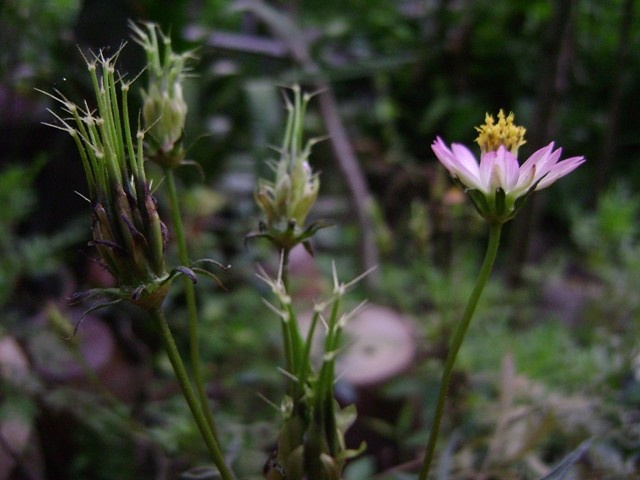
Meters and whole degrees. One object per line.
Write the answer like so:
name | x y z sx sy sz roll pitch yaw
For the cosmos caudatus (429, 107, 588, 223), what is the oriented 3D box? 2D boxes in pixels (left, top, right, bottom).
cosmos caudatus | 0.230 -0.092 0.819 0.176 0.154 0.192 1 8 -34
